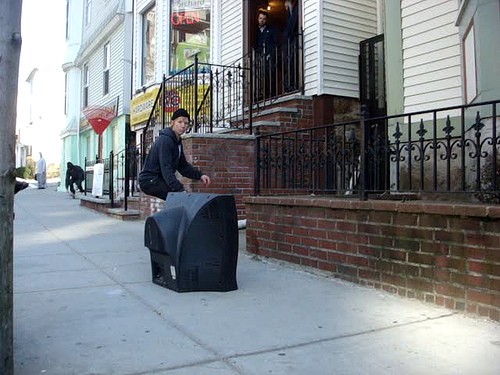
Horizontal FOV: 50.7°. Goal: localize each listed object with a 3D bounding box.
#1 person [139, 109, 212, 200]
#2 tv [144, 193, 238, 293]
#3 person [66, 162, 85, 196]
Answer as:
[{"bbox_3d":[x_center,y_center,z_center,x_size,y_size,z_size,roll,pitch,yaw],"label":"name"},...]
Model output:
[{"bbox_3d":[-1.037,-0.457,7.140,0.847,1.205,0.657,6,8,40],"label":"person"},{"bbox_3d":[-0.859,0.627,6.444,0.777,1.258,1.075,1,2,-44],"label":"tv"},{"bbox_3d":[-6.554,-0.324,19.740,0.636,1.291,1.737,-2,7,-20],"label":"person"}]
